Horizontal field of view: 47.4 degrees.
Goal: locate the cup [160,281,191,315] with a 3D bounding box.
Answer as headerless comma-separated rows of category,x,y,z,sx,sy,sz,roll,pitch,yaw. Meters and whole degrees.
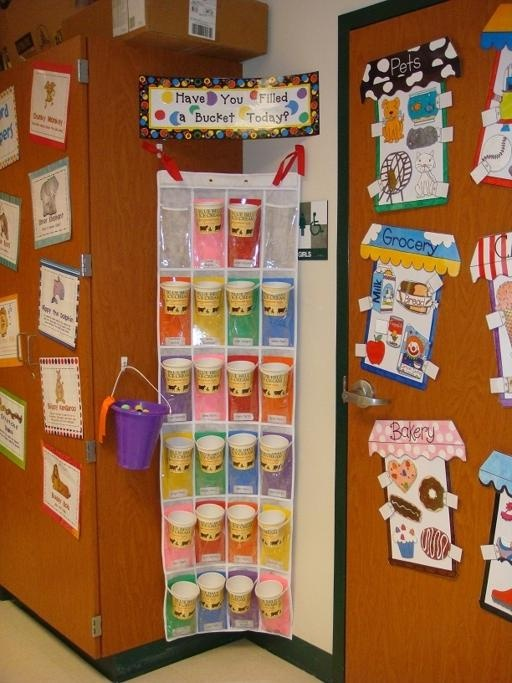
cup,-0.256,-0.137,1.909,0.088,0.089,0.095,2,23,-1

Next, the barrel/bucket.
barrel/bucket,-0.340,0.238,1.790,0.184,0.275,0.215,-3,9,-11

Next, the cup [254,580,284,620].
cup,0.040,0.847,2.013,0.100,0.095,0.102,0,20,0

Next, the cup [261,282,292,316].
cup,0.068,-0.127,1.870,0.094,0.114,0.109,2,7,3

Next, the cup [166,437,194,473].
cup,-0.254,0.375,1.975,0.088,0.093,0.098,15,26,22

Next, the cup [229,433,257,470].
cup,-0.042,0.358,1.978,0.085,0.089,0.099,-12,28,-23

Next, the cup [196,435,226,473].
cup,-0.149,0.379,1.946,0.096,0.110,0.104,1,7,0

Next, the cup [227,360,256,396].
cup,-0.047,0.131,1.893,0.090,0.126,0.089,1,6,0

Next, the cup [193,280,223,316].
cup,-0.152,-0.133,1.873,0.081,0.091,0.103,-6,28,-16

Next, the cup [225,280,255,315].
cup,-0.046,-0.133,1.885,0.096,0.116,0.103,1,7,0

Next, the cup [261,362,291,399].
cup,0.061,0.137,1.881,0.098,0.122,0.097,1,7,0

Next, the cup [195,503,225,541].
cup,-0.151,0.603,1.954,0.092,0.092,0.099,4,27,-2

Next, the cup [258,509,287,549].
cup,0.055,0.608,1.942,0.081,0.088,0.099,-7,23,-22

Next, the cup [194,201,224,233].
cup,-0.149,-0.395,1.919,0.082,0.098,0.092,10,24,22

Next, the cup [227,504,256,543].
cup,-0.054,0.589,2.003,0.100,0.094,0.094,3,22,-1

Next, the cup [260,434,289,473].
cup,0.058,0.365,1.958,0.090,0.095,0.100,-10,24,-37

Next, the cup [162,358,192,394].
cup,-0.256,0.092,1.934,0.092,0.094,0.101,2,28,-1

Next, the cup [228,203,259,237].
cup,-0.043,-0.387,1.913,0.081,0.097,0.092,-13,28,-34

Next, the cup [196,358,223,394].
cup,-0.151,0.113,1.926,0.077,0.091,0.100,-4,25,-11

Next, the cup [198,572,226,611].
cup,-0.148,0.841,1.979,0.084,0.092,0.108,-1,21,-8
